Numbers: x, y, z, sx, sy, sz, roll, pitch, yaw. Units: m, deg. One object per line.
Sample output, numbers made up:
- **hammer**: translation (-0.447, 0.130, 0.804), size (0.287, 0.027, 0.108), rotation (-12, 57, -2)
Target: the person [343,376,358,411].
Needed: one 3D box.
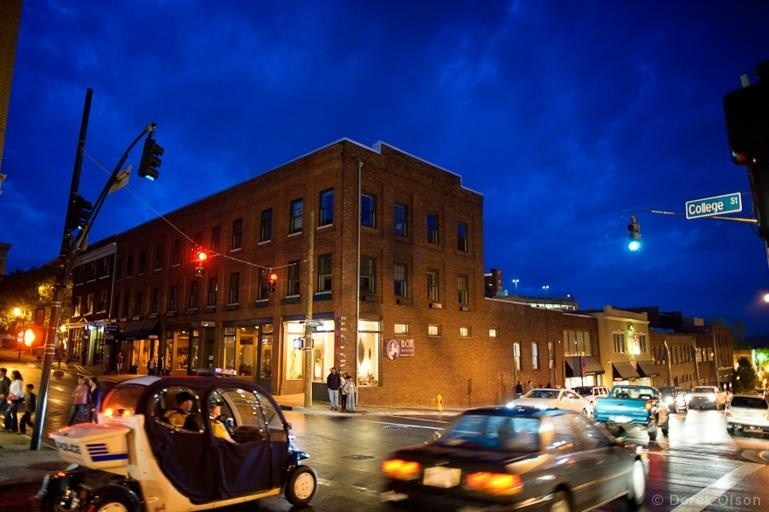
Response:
- **person**: translation (-1.902, 7.244, 27.118), size (0.626, 1.877, 0.801), rotation (1, -16, -9)

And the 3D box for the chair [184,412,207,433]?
- **chair**: translation (-3.721, 3.284, 10.085), size (0.349, 0.615, 0.343), rotation (-1, -5, -34)
